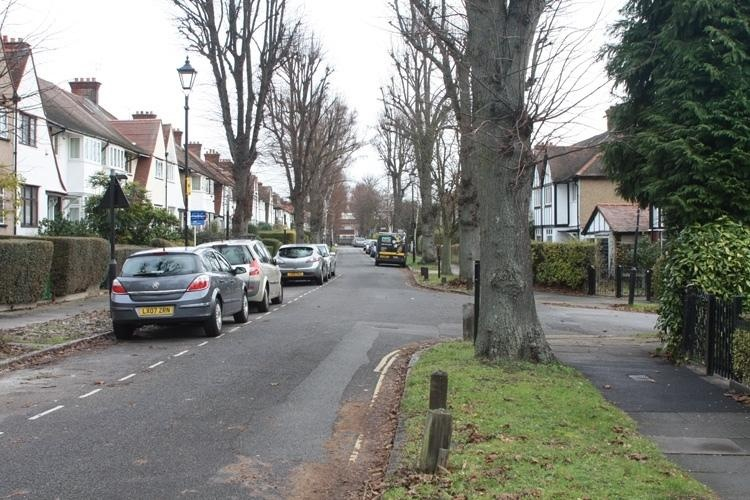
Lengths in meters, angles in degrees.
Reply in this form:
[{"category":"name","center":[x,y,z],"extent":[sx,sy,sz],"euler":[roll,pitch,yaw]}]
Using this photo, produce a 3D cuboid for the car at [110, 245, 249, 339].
[{"category":"car","center":[-4.461,1.019,15.946],"extent":[1.526,2.153,3.224],"euler":[6,10,40]}]
